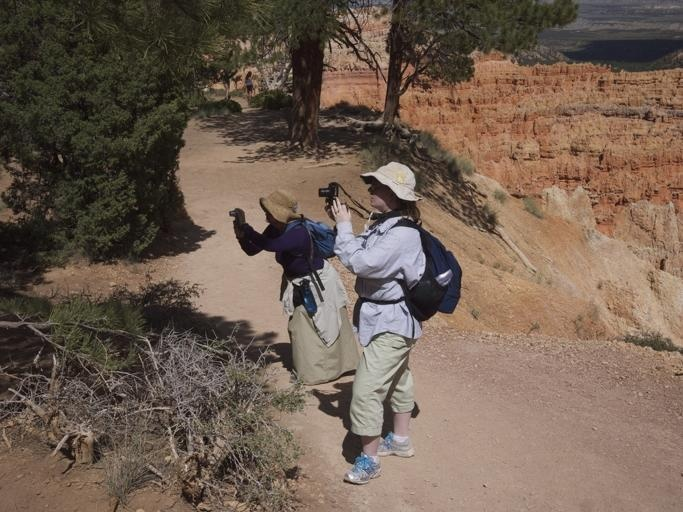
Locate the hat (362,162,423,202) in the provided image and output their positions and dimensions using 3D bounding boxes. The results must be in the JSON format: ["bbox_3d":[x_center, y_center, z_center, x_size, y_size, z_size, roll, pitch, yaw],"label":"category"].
[{"bbox_3d":[0.651,-0.782,7.449,0.450,0.495,0.213,20,63,25],"label":"hat"}]

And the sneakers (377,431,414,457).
[{"bbox_3d":[0.558,2.094,7.760,0.472,0.249,0.184,3,19,3],"label":"sneakers"}]

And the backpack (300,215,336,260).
[{"bbox_3d":[-0.274,-0.204,8.315,0.452,0.481,0.334,-1,23,-4],"label":"backpack"}]

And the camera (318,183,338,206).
[{"bbox_3d":[-0.095,-0.676,7.452,0.255,0.098,0.261,-14,20,-12],"label":"camera"}]

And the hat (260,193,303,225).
[{"bbox_3d":[-0.698,-0.572,8.072,0.462,0.408,0.213,0,24,-7],"label":"hat"}]
